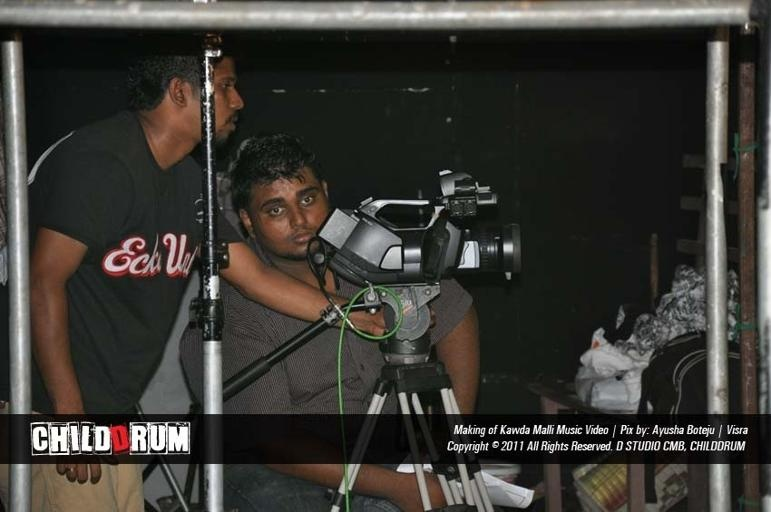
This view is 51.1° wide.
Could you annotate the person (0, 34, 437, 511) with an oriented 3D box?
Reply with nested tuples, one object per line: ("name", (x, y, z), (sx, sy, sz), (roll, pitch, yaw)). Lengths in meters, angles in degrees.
("person", (-1.309, 0.136, 4.293), (1.311, 2.411, 0.502), (1, -2, -30))
